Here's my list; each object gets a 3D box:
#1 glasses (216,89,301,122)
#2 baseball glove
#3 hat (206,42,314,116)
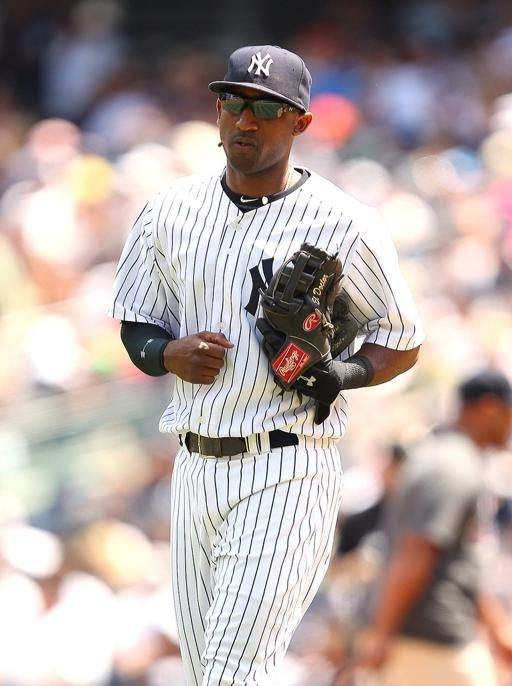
[{"bbox_3d":[0.007,-0.668,2.504,0.222,0.089,0.094,0,54,6],"label":"glasses"},{"bbox_3d":[0.127,-0.064,2.426,0.254,0.357,0.372,8,55,13],"label":"baseball glove"},{"bbox_3d":[0.029,-0.789,2.555,0.292,0.161,0.325,13,20,5],"label":"hat"}]
